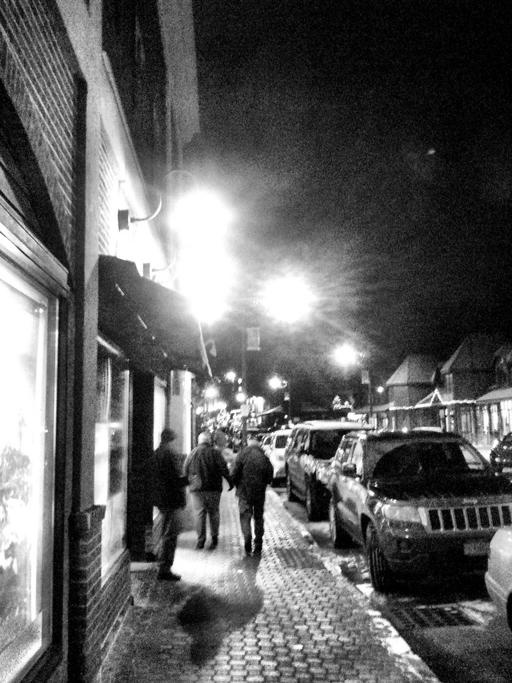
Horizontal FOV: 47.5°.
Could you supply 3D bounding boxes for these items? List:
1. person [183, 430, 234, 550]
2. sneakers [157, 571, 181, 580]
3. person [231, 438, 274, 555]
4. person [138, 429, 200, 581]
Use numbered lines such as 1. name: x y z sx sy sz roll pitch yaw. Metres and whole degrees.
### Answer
1. person: -0.834 2.437 9.834 0.513 2.060 0.667 0 11 1
2. sneakers: -1.055 2.816 6.960 0.291 0.118 0.218 -4 -15 -4
3. person: -0.061 2.358 9.531 0.490 2.069 0.551 -1 21 -5
4. person: -1.111 2.004 7.265 0.471 1.869 0.569 -2 -9 -3
